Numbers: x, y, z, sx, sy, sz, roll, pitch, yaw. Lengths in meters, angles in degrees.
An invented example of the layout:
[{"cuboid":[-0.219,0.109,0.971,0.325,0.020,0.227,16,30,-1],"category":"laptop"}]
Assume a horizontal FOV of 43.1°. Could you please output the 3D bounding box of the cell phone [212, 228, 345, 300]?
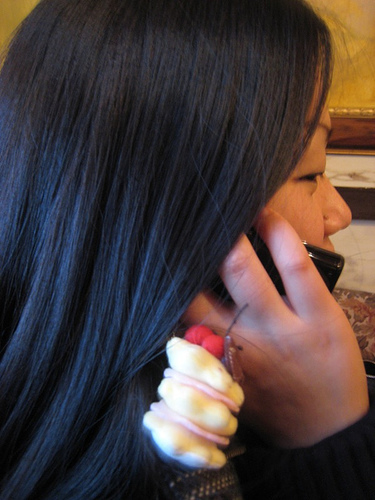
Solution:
[{"cuboid":[0.105,0.018,0.582,0.083,0.055,0.009,25,37,24],"category":"cell phone"}]
